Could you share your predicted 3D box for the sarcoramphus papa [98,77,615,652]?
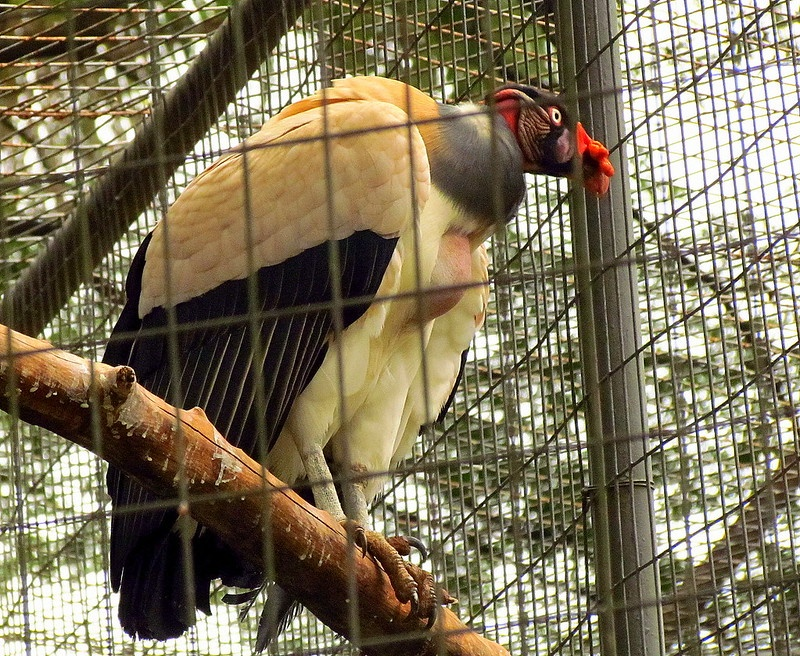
[{"bbox_3d":[-0.109,0.003,5.057,1.648,1.569,1.075,-13,-25,13],"label":"sarcoramphus papa"}]
